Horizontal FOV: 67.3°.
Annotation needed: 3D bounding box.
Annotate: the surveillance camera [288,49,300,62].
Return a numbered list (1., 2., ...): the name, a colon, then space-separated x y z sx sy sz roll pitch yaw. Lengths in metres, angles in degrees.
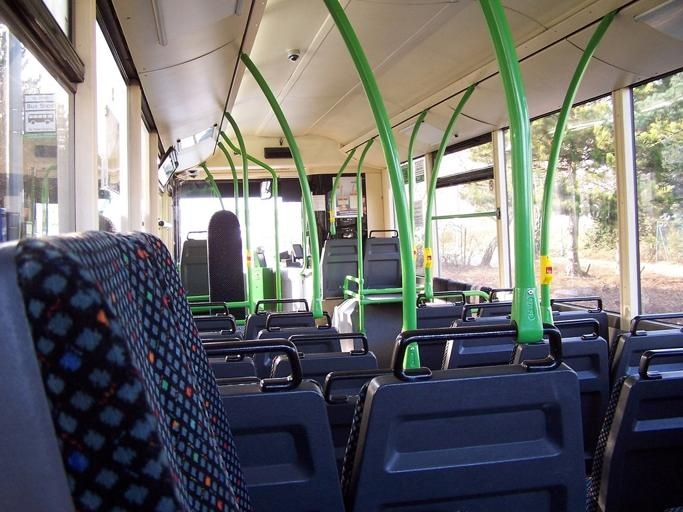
1. surveillance camera: -0.551 -2.317 5.897 0.074 0.082 0.081 2 -10 -4
